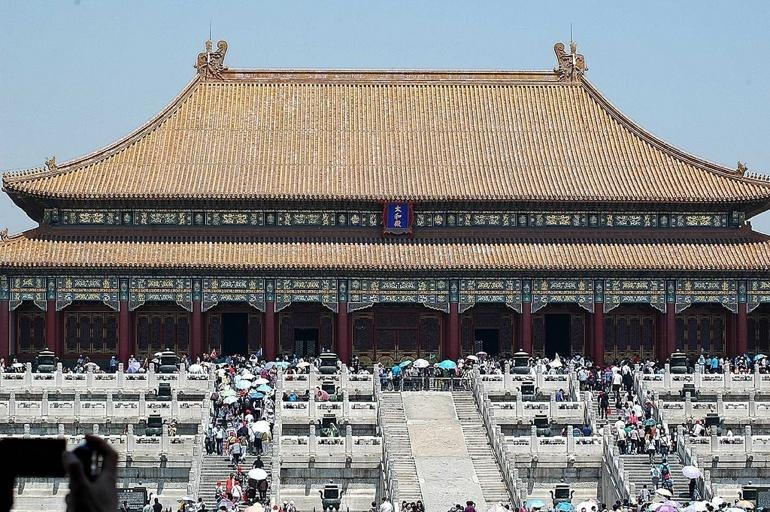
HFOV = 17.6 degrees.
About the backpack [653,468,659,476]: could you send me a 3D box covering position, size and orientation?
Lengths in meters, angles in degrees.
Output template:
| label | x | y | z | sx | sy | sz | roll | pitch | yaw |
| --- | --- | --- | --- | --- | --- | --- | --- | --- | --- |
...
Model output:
| label | x | y | z | sx | sy | sz | roll | pitch | yaw |
| --- | --- | --- | --- | --- | --- | --- | --- | --- | --- |
| backpack | 11.644 | 9.060 | 105.111 | 0.259 | 0.321 | 0.166 | 1 | -35 | 5 |
